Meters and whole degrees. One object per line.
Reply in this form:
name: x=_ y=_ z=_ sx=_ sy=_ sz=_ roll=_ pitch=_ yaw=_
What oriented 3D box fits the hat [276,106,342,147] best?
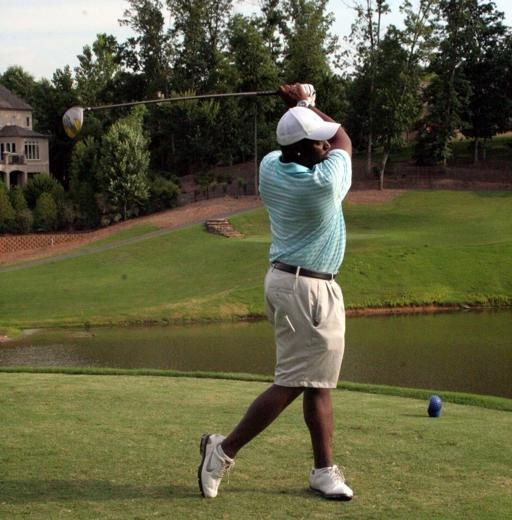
hat: x=0.500 y=-1.287 z=9.268 sx=0.549 sy=0.264 sz=0.340 roll=-3 pitch=24 yaw=-3

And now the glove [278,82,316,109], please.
glove: x=0.430 y=-1.622 z=9.787 sx=0.339 sy=0.130 sz=0.260 roll=27 pitch=34 yaw=30
